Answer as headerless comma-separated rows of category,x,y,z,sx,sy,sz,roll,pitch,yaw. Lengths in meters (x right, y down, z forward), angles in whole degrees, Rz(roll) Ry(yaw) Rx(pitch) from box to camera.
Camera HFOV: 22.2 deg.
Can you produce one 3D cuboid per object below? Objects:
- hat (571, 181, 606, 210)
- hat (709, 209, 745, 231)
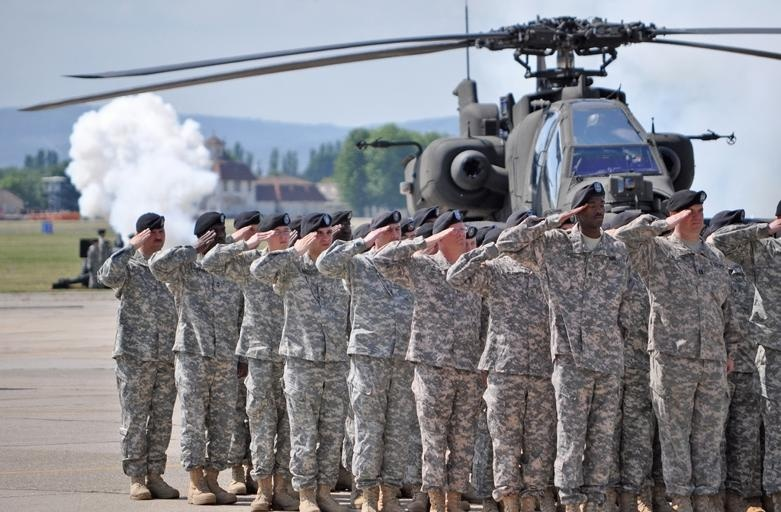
hat,2.824,-0.873,28.924,0.405,0.129,0.426,-5,-14,-39
hat,4.800,-0.510,28.204,0.706,0.265,0.494,-9,-1,4
